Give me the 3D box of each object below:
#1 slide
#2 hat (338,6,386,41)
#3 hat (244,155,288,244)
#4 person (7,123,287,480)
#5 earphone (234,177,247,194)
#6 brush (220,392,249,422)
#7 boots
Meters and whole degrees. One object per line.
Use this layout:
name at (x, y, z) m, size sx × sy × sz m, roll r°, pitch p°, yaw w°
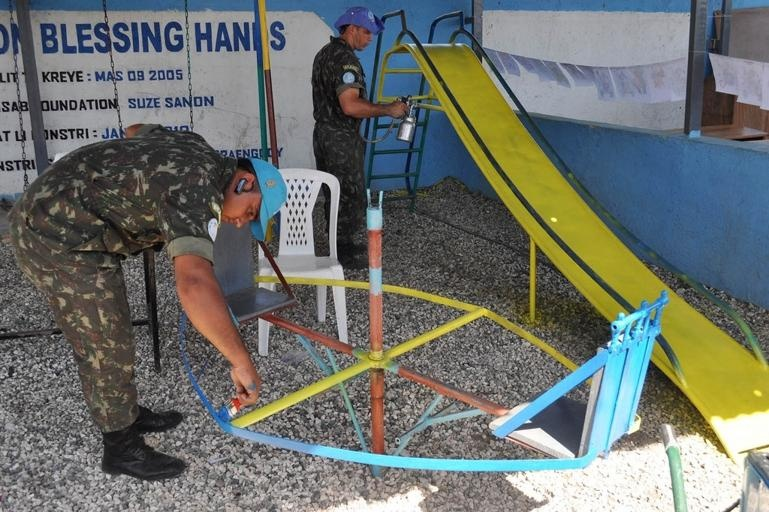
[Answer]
slide at (1.324, -0.296, 4.804) m, size 0.843 × 1.927 × 3.174 m, roll -14°, pitch 26°, yaw -28°
hat at (-0.179, -1.914, 5.675) m, size 0.349 × 0.189 × 0.224 m, roll -15°, pitch 34°, yaw 0°
hat at (-0.572, -0.306, 3.478) m, size 0.184 × 0.381 × 0.233 m, roll -1°, pitch -1°, yaw -3°
person at (-1.124, 0.309, 3.625) m, size 1.418 × 1.822 × 0.721 m, roll 10°, pitch 24°, yaw 25°
earphone at (-0.687, -0.343, 3.342) m, size 0.050 × 0.072 × 0.017 m, roll 9°, pitch 7°, yaw -8°
brush at (-0.703, 0.714, 3.263) m, size 0.059 × 0.150 × 0.090 m, roll 11°, pitch 44°, yaw -49°
boots at (-1.419, 1.025, 3.909) m, size 0.617 × 0.303 × 0.234 m, roll 6°, pitch 25°, yaw 7°
